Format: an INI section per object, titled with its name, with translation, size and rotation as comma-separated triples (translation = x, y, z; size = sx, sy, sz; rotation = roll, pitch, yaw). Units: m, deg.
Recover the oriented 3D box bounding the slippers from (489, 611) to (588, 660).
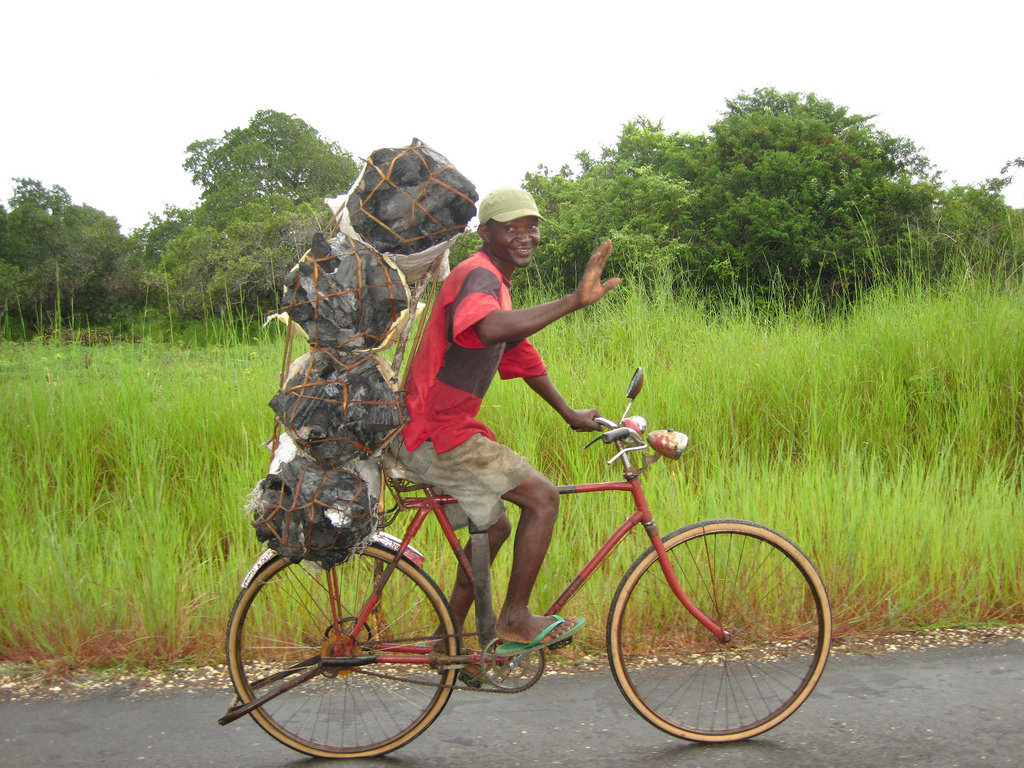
[slippers]
translation = 0.142, 1.379, 5.040
size = 0.488, 0.109, 0.208
rotation = -16, 0, -3
